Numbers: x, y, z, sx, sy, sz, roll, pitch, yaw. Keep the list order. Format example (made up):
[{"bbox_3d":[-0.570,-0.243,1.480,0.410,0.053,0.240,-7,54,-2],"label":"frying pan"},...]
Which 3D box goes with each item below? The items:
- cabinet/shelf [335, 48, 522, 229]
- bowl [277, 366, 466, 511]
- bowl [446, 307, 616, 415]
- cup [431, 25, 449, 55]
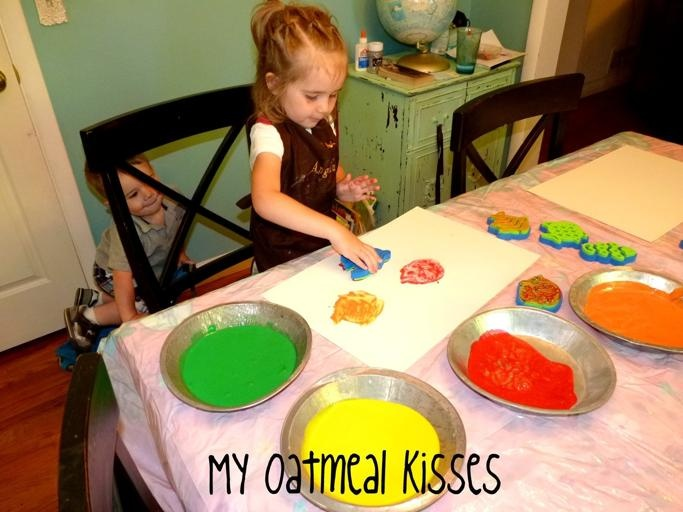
[{"bbox_3d":[0.328,-0.515,1.973,0.557,0.945,0.354,-30,46,-28],"label":"cabinet/shelf"},{"bbox_3d":[0.055,0.297,0.781,0.296,0.059,0.245,4,44,10],"label":"bowl"},{"bbox_3d":[0.326,0.194,0.873,0.268,0.050,0.278,-2,29,1],"label":"bowl"},{"bbox_3d":[0.498,-1.119,2.498,0.084,0.102,0.104,-1,40,-2],"label":"cup"}]
